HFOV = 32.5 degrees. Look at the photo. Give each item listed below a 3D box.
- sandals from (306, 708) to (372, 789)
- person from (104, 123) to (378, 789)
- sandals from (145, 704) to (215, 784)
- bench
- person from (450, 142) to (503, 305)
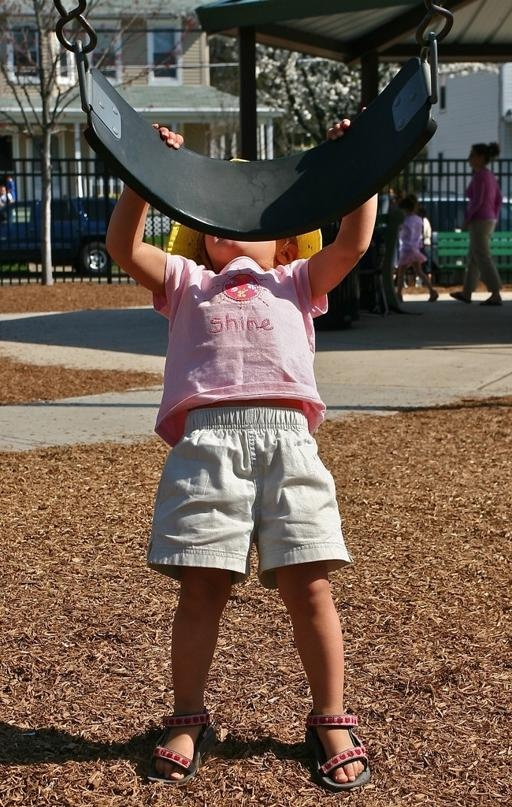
[{"bbox_3d":[0.150,0.641,1.643,0.067,0.074,0.179,-2,7,-11],"label":"sandals"},{"bbox_3d":[-0.034,0.052,1.768,0.532,1.254,0.498,1,7,5],"label":"person"},{"bbox_3d":[-0.143,0.645,1.668,0.061,0.071,0.173,2,9,15],"label":"sandals"},{"bbox_3d":[3.335,-2.270,13.787,1.749,1.036,0.713,0,12,-2],"label":"bench"},{"bbox_3d":[2.765,-2.203,10.871,0.623,1.954,0.714,-4,6,-28],"label":"person"}]
